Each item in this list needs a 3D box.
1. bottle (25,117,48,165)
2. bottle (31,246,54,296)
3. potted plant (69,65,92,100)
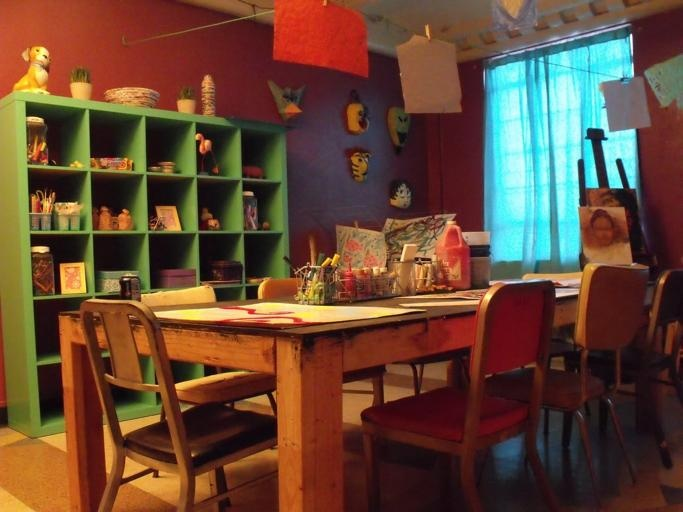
[{"bbox_3d":[-1.887,-0.721,3.570,0.100,0.265,0.149,-4,3,9],"label":"bottle"},{"bbox_3d":[-1.844,0.093,3.533,0.105,0.265,0.113,-4,3,0],"label":"bottle"},{"bbox_3d":[-1.716,-1.144,3.780,0.122,0.187,0.292,-6,3,-23],"label":"potted plant"}]
